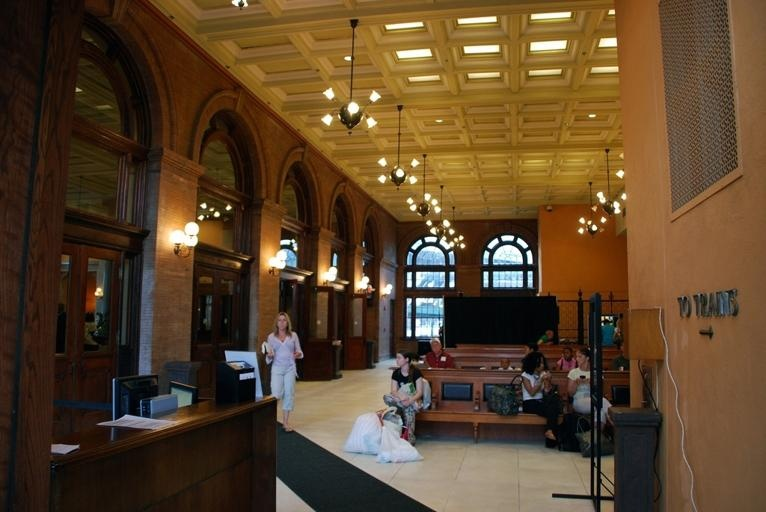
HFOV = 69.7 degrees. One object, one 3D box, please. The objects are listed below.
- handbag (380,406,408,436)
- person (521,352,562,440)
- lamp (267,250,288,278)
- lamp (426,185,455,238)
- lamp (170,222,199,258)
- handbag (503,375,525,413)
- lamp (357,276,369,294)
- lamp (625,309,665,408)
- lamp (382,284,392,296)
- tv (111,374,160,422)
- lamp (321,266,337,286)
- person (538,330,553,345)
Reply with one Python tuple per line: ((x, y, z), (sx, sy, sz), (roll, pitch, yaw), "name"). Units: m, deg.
((0.179, 2.312, 7.717), (0.297, 0.421, 0.388), (7, -15, -42), "handbag")
((2.285, 2.057, 8.030), (0.521, 1.301, 0.388), (-2, -12, 13), "person")
((-2.451, 0.145, 12.750), (0.263, 0.624, 0.534), (-2, -12, 15), "lamp")
((2.167, -1.723, 20.683), (1.356, 2.620, 1.204), (1, -15, 6), "lamp")
((-3.418, -0.265, 9.612), (0.343, 0.552, 0.577), (-1, -12, 12), "lamp")
((1.922, 2.048, 8.062), (0.334, 0.460, 0.181), (-20, -45, 23), "handbag")
((-0.697, 0.982, 19.070), (0.344, 0.572, 0.223), (8, -16, -16), "lamp")
((2.713, 1.075, 5.799), (0.352, 1.038, 1.031), (-3, -12, 18), "lamp")
((0.143, 1.364, 22.502), (0.209, 0.584, 1.117), (-2, -12, 14), "lamp")
((-2.004, 1.163, 4.448), (0.121, 0.407, 0.381), (-5, -6, 17), "tv")
((-1.631, 0.594, 16.297), (0.400, 0.296, 0.778), (-2, -18, -5), "lamp")
((4.098, 2.051, 13.800), (0.321, 0.423, 1.823), (-3, -13, 17), "person")
